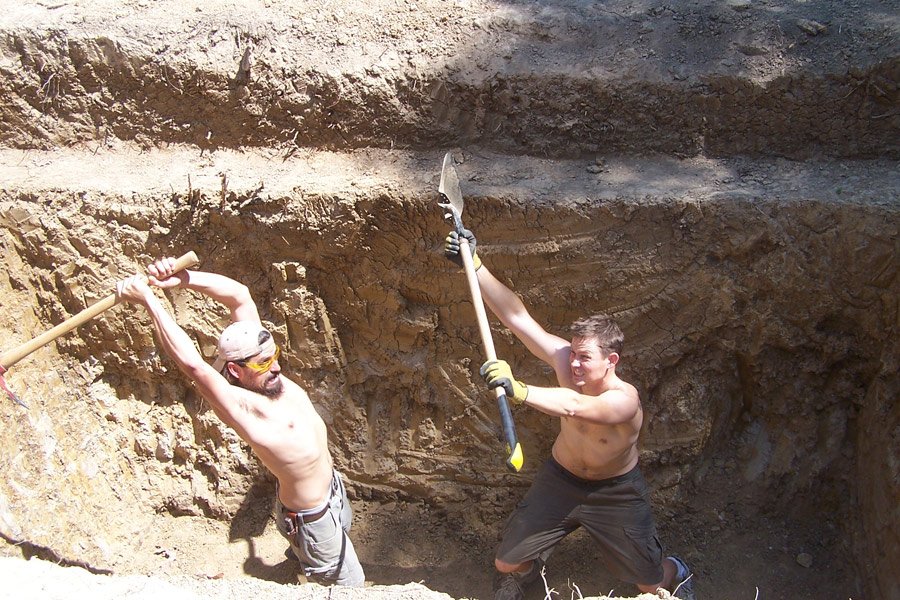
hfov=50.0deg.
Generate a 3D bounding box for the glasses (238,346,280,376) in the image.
[{"bbox_3d":[-1.491,0.509,7.651,0.221,0.069,0.221,-20,7,38],"label":"glasses"}]

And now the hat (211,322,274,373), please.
[{"bbox_3d":[-1.661,0.366,7.704,0.467,0.370,0.348,-11,15,-5],"label":"hat"}]

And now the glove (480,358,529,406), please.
[{"bbox_3d":[0.429,0.600,7.355,0.160,0.404,0.232,-34,23,46],"label":"glove"}]

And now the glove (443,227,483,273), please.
[{"bbox_3d":[0.113,-0.416,8.023,0.278,0.361,0.122,-20,15,9],"label":"glove"}]
